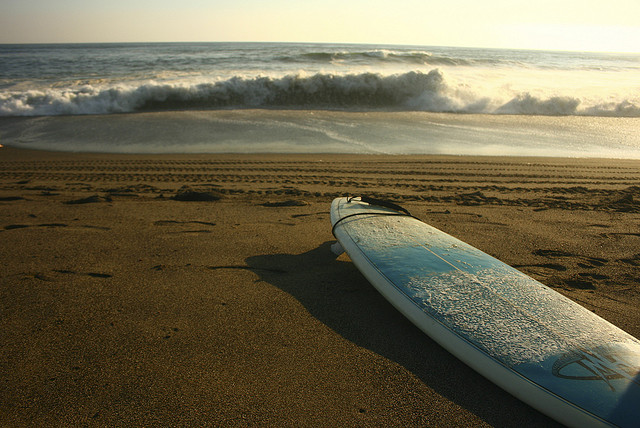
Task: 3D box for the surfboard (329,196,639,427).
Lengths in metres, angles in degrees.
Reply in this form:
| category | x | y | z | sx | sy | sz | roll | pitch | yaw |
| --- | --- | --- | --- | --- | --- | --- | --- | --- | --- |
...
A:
| category | x | y | z | sx | sy | sz | roll | pitch | yaw |
| --- | --- | --- | --- | --- | --- | --- | --- | --- | --- |
| surfboard | 1.407 | 0.787 | 5.441 | 1.278 | 0.409 | 4.245 | -21 | 32 | -25 |
